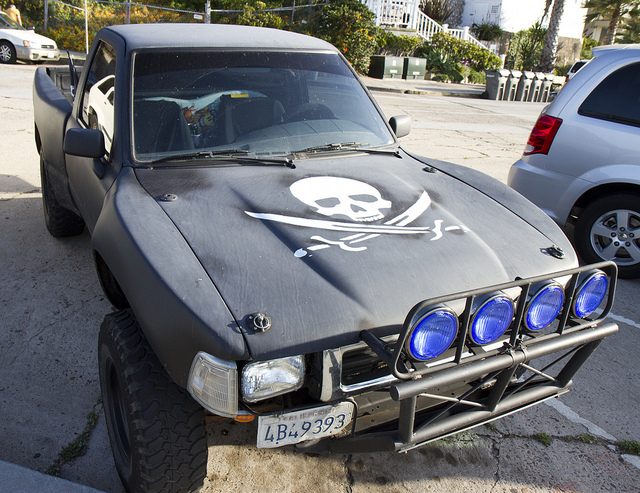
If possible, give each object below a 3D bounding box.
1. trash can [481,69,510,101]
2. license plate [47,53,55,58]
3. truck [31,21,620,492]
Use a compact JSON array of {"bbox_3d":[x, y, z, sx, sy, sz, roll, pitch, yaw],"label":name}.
[{"bbox_3d":[7.084,-6.572,20.230,1.018,1.273,1.015,3,11,-12],"label":"trash can"},{"bbox_3d":[-9.181,-6.568,17.043,0.220,0.214,0.071,-12,22,-43],"label":"license plate"},{"bbox_3d":[-0.790,-0.262,3.846,2.141,1.739,4.620,-7,36,-28],"label":"truck"}]
